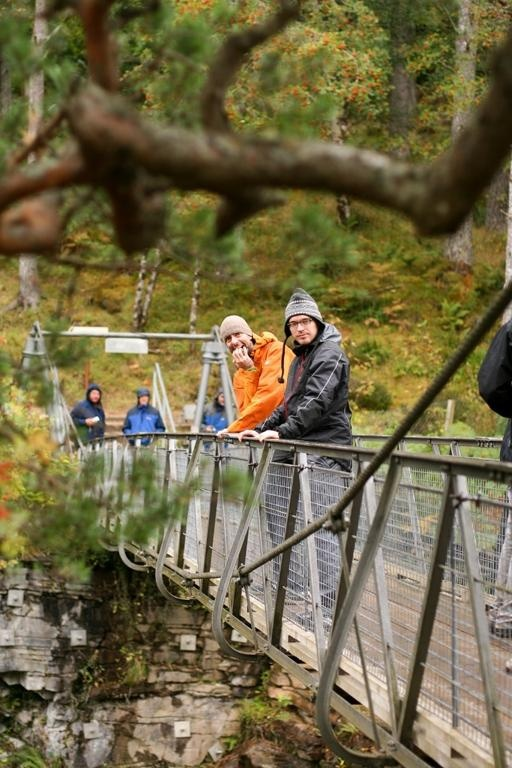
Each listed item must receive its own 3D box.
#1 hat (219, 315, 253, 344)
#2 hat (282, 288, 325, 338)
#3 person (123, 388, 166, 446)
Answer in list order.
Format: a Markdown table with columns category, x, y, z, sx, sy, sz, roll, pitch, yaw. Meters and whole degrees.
| category | x | y | z | sx | sy | sz | roll | pitch | yaw |
| --- | --- | --- | --- | --- | --- | --- | --- | --- | --- |
| hat | -0.137 | -0.329 | 4.799 | 0.169 | 0.124 | 0.153 | -33 | -21 | 36 |
| hat | 0.206 | -0.345 | 3.991 | 0.175 | 0.170 | 0.182 | -11 | -12 | 0 |
| person | -1.317 | 0.410 | 9.688 | 0.501 | 0.664 | 0.383 | 0 | -4 | -5 |
